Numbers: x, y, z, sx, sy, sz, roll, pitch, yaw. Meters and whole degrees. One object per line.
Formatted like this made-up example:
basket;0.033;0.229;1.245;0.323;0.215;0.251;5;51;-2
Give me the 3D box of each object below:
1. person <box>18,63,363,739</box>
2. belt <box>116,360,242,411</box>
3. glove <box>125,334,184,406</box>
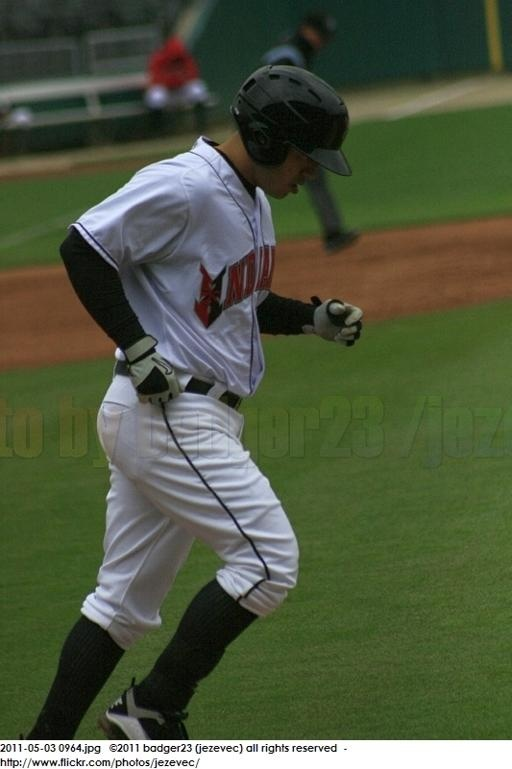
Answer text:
person;-0.120;0.030;2.200;0.585;1.495;0.668;5;13;11
belt;-0.165;0.021;2.085;0.189;0.063;0.137;24;-5;-12
glove;-0.218;-0.022;1.969;0.115;0.135;0.061;-30;3;-31
